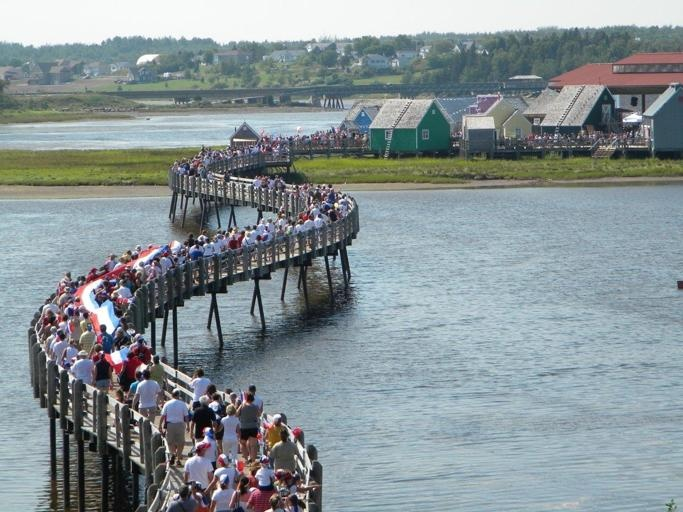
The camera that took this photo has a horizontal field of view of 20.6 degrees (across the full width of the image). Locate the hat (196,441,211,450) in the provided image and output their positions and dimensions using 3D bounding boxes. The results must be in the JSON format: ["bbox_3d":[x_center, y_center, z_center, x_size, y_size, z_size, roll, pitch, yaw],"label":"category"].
[{"bbox_3d":[-6.745,9.318,92.221,0.784,0.482,0.377,-7,19,-24],"label":"hat"}]

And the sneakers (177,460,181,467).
[{"bbox_3d":[-8.135,10.440,94.237,0.132,0.232,0.409,-1,2,-18],"label":"sneakers"}]

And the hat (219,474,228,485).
[{"bbox_3d":[-5.682,10.814,90.799,0.312,0.337,0.433,-1,44,6],"label":"hat"}]
